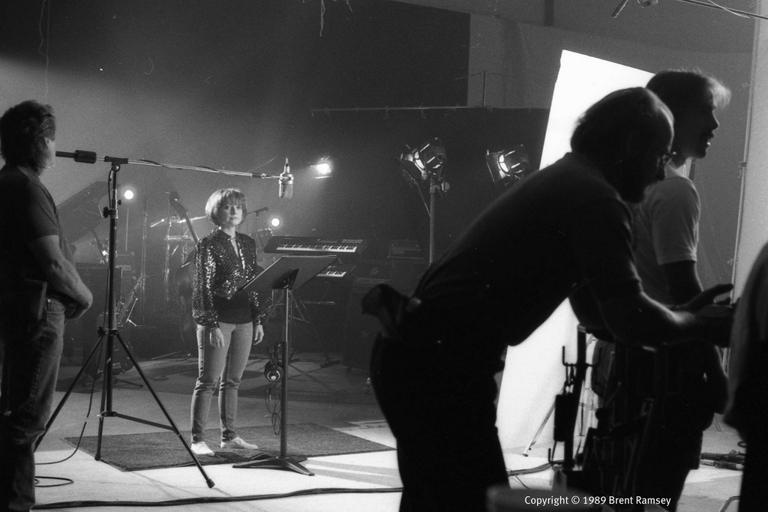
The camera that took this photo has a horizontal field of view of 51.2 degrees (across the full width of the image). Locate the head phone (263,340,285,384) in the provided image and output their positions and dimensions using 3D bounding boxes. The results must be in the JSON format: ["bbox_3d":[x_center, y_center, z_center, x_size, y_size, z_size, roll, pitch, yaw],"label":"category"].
[{"bbox_3d":[-0.889,0.852,6.660,0.149,0.292,0.318,5,27,-3],"label":"head phone"}]

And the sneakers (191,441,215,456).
[{"bbox_3d":[-1.523,1.623,6.756,0.202,0.085,0.128,-8,-8,33],"label":"sneakers"}]
